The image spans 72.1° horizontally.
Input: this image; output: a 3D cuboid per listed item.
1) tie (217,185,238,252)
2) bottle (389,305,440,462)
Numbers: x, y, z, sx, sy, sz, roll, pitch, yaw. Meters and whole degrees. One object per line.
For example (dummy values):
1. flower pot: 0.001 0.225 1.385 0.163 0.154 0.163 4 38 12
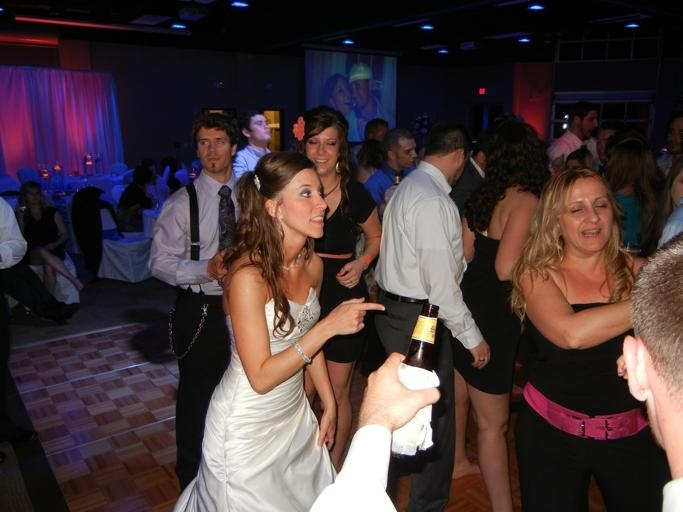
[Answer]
1. tie: -0.685 -0.228 2.802 0.114 0.365 0.266 -3 17 -6
2. bottle: 0.222 0.431 1.386 0.114 0.586 0.356 2 17 12
